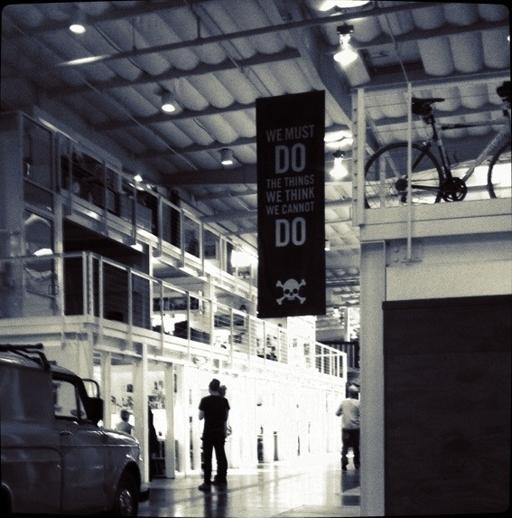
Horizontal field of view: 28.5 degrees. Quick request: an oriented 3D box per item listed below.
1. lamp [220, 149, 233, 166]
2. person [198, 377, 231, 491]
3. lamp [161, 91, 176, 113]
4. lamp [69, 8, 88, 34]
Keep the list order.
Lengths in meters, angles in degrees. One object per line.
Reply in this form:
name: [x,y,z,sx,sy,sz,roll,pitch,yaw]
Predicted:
lamp: [-0.609,-2.174,21.395,0.265,0.300,0.276,-1,-1,-11]
person: [-0.646,2.712,15.533,0.443,1.664,1.052,0,-12,0]
lamp: [-1.559,-2.835,18.357,0.311,0.371,0.330,-5,-10,-13]
lamp: [-2.841,-3.774,15.999,0.261,0.634,0.266,-6,12,-22]
